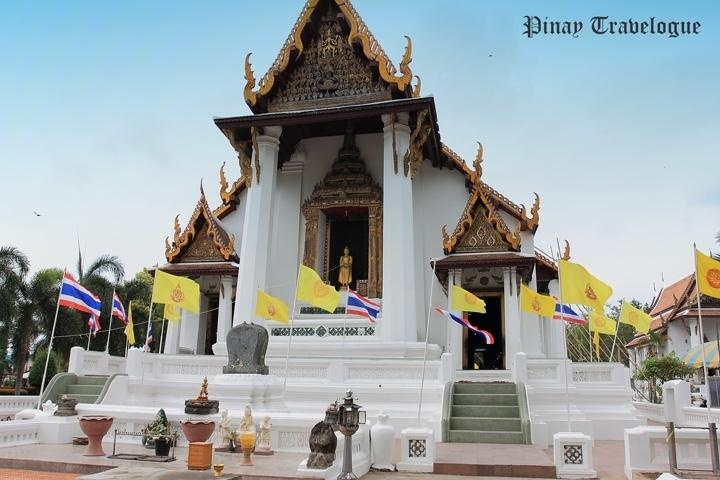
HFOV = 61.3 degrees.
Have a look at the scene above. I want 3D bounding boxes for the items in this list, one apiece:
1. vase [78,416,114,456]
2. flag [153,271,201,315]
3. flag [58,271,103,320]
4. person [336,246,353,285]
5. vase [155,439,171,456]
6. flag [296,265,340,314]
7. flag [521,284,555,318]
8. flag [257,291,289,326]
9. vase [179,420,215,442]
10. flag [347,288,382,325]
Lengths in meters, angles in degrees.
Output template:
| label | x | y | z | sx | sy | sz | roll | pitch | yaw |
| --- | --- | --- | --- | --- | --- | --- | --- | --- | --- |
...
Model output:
| label | x | y | z | sx | sy | sz | roll | pitch | yaw |
| --- | --- | --- | --- | --- | --- | --- | --- | --- | --- |
| vase | -5.068 | 3.713 | 11.475 | 0.653 | 0.673 | 0.677 | -10 | -13 | 41 |
| flag | -4.985 | 1.421 | 16.687 | 1.681 | 1.238 | 0.129 | 17 | -20 | -33 |
| flag | -7.681 | 1.451 | 16.528 | 0.721 | 0.965 | 1.375 | 2 | -14 | 4 |
| person | -0.501 | 0.941 | 20.969 | 0.493 | 1.593 | 0.899 | 3 | -14 | -1 |
| vase | -3.639 | 3.900 | 11.351 | 0.282 | 0.291 | 0.281 | 12 | -26 | -35 |
| flag | -1.238 | 1.479 | 17.262 | 0.223 | 1.404 | 1.521 | -10 | -22 | 43 |
| flag | 4.214 | 1.434 | 14.453 | 0.738 | 0.692 | 0.551 | -1 | -14 | 13 |
| flag | -2.458 | 1.979 | 16.958 | 0.055 | 0.910 | 1.237 | -18 | -30 | 34 |
| vase | -2.988 | 3.535 | 11.223 | 0.460 | 0.321 | 0.461 | 11 | -27 | -24 |
| flag | 0.127 | 2.063 | 18.235 | 1.087 | 1.102 | 0.188 | 6 | -13 | -22 |
